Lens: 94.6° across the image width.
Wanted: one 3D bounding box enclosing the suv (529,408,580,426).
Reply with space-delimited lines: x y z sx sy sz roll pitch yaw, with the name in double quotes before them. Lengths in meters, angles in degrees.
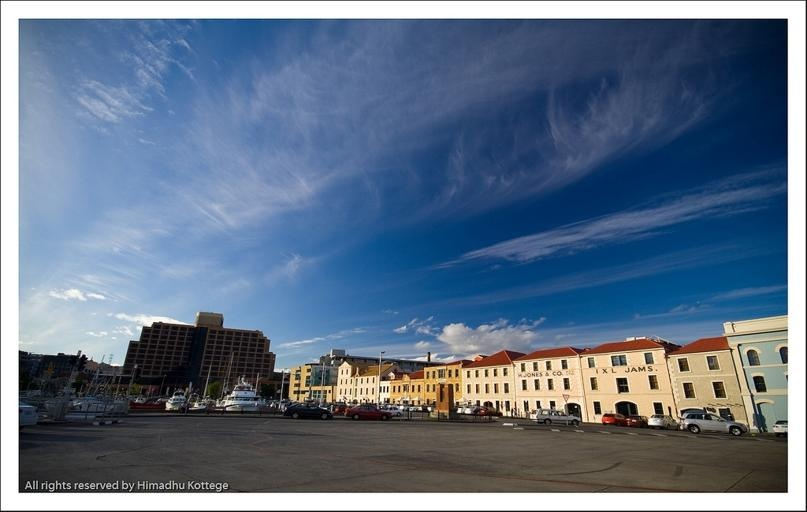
"suv" 17.491 18.700 43.214 4.285 1.486 3.038 -3 -21 6
